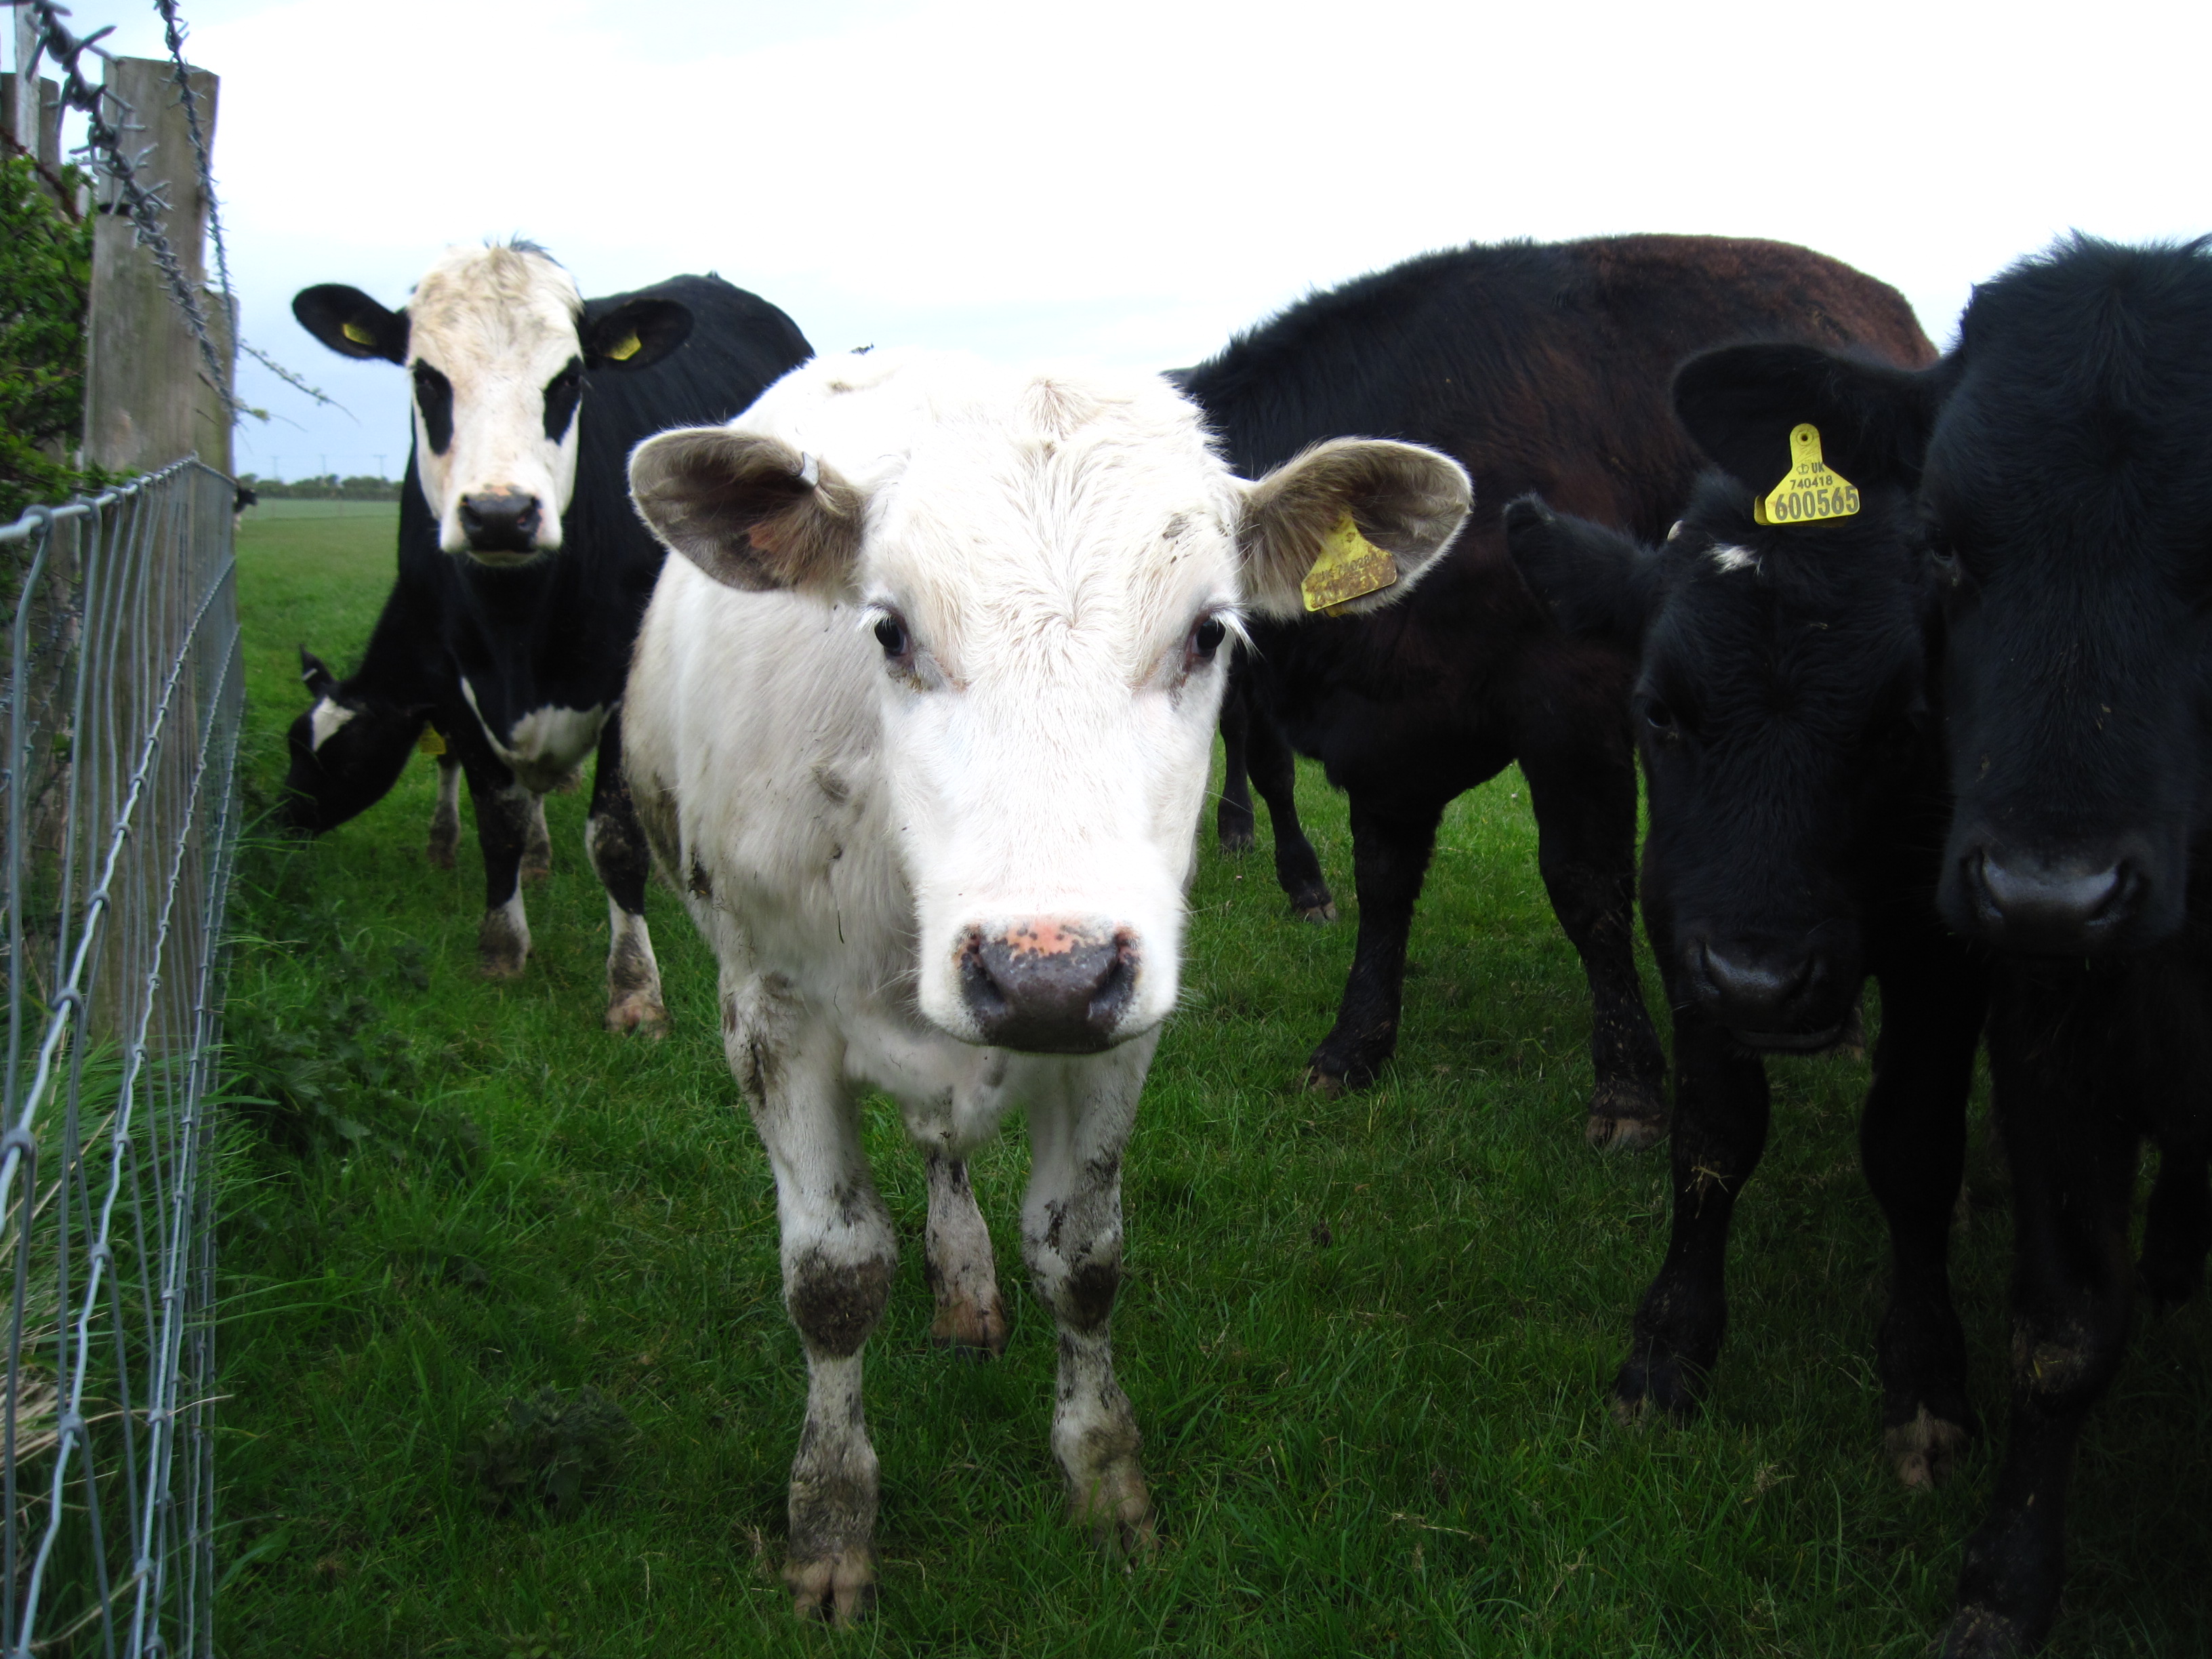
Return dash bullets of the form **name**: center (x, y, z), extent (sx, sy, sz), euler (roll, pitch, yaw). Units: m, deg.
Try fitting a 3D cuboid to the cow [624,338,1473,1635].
- **cow**: center (-0.383, 0.308, 4.326), extent (1.625, 2.804, 1.236), euler (9, 12, 34)
